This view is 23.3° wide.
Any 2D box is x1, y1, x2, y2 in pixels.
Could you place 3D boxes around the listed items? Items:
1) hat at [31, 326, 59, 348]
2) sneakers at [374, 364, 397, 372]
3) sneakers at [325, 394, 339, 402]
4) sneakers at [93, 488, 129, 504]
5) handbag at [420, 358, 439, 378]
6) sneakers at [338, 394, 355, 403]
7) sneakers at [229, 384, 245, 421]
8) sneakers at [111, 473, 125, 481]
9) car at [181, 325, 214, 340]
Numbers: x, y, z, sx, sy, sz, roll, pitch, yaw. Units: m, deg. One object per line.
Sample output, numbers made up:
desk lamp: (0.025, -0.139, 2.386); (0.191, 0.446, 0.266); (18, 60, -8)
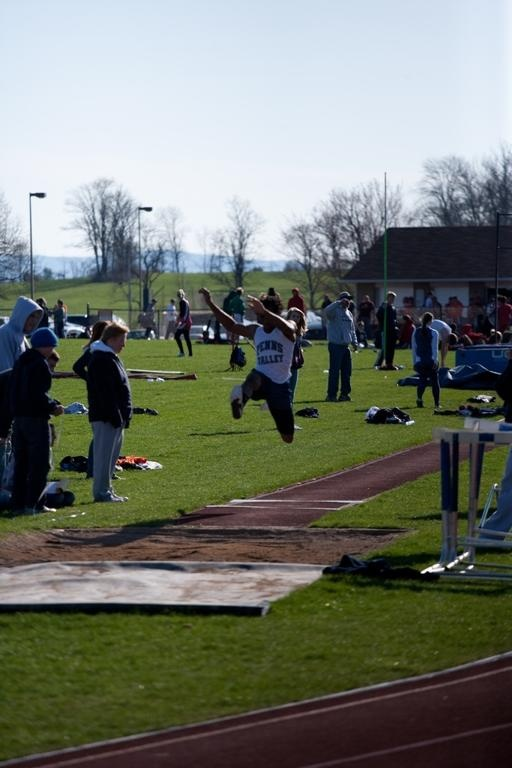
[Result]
hat: (-1.715, -0.385, 10.173); (0.206, 0.186, 0.157); (12, 14, -13)
sneakers: (3.036, -0.401, 28.897); (0.567, 0.226, 0.174); (-5, 9, 13)
sneakers: (1.242, 0.228, 20.277); (0.227, 0.156, 0.076); (-1, 7, 15)
sneakers: (-1.238, 0.940, 10.565); (0.339, 0.142, 0.110); (0, 0, 0)
handbag: (2.529, -0.241, 18.345); (0.209, 0.276, 0.120); (7, 30, 0)
sneakers: (1.475, 0.217, 20.438); (0.093, 0.114, 0.274); (6, 6, 20)
sneakers: (-0.158, 0.140, 10.705); (0.142, 0.320, 0.108); (6, 5, -5)
sneakers: (-1.301, 0.870, 11.802); (0.137, 0.063, 0.174); (4, -7, -5)
car: (-2.297, -2.118, 53.326); (1.019, 0.791, 1.655); (-1, -5, 1)
